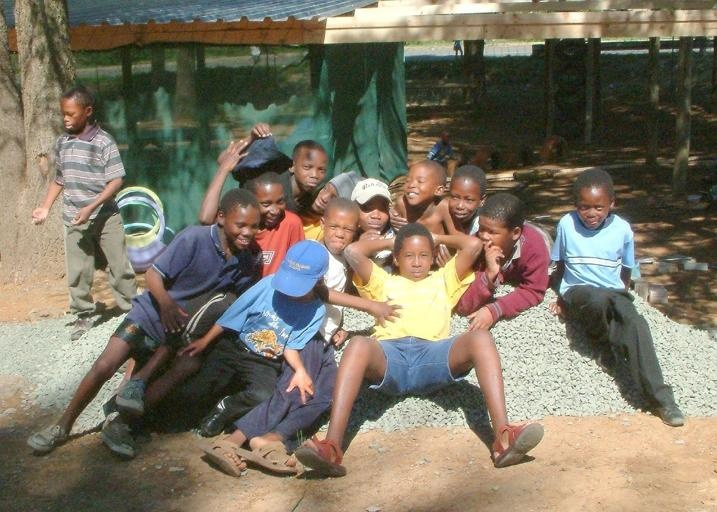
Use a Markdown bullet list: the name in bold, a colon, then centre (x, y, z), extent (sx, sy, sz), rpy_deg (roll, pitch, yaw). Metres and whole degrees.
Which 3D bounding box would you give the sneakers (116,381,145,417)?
- **sneakers**: centre (-1.644, 1.009, 4.913), extent (0.212, 0.102, 0.229), rpy_deg (18, 44, -4)

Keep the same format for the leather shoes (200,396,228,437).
- **leather shoes**: centre (-1.081, 1.224, 5.071), extent (0.135, 0.120, 0.338), rpy_deg (-30, 24, 34)

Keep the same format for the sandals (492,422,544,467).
- **sandals**: centre (1.064, 1.262, 4.668), extent (0.210, 0.440, 0.201), rpy_deg (8, 50, -39)

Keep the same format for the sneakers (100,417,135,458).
- **sneakers**: centre (-1.756, 1.316, 4.981), extent (0.310, 0.262, 0.174), rpy_deg (9, 20, 37)

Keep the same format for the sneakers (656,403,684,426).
- **sneakers**: centre (2.344, 1.190, 5.142), extent (0.104, 0.078, 0.196), rpy_deg (-12, 12, -6)

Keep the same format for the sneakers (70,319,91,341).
- **sneakers**: centre (-2.712, 0.704, 6.630), extent (0.133, 0.075, 0.215), rpy_deg (-18, 26, 29)

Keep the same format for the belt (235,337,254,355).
- **belt**: centre (-0.888, 0.694, 5.217), extent (0.085, 0.135, 0.035), rpy_deg (-25, -9, -32)

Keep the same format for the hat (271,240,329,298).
- **hat**: centre (-0.425, 0.103, 5.149), extent (0.310, 0.189, 0.476), rpy_deg (31, 62, 14)
